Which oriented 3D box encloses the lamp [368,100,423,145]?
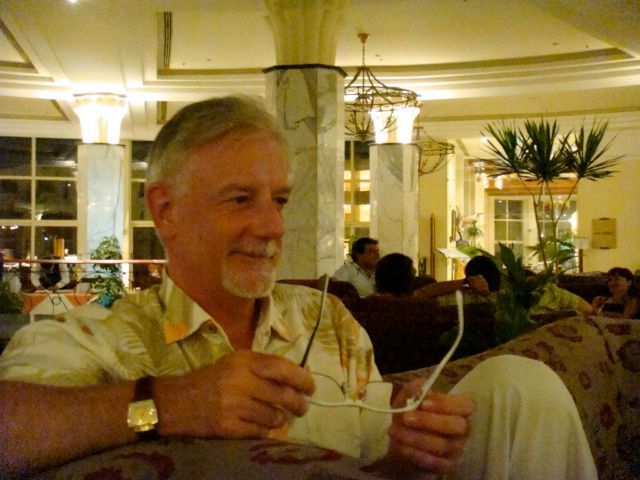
[{"bbox_3d":[0.807,-1.211,5.460,0.460,0.375,0.540,2,6,27],"label":"lamp"}]

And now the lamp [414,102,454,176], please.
[{"bbox_3d":[1.508,-1.329,7.159,0.777,0.676,0.912,2,9,16],"label":"lamp"}]

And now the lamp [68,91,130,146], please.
[{"bbox_3d":[-2.496,-1.418,6.031,0.594,0.499,0.554,0,5,-4],"label":"lamp"}]

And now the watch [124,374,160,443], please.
[{"bbox_3d":[-0.196,0.188,0.570,0.039,0.073,0.038,-5,-26,-6],"label":"watch"}]

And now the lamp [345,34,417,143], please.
[{"bbox_3d":[0.537,-1.405,4.870,0.830,1.172,0.866,1,4,15],"label":"lamp"}]
